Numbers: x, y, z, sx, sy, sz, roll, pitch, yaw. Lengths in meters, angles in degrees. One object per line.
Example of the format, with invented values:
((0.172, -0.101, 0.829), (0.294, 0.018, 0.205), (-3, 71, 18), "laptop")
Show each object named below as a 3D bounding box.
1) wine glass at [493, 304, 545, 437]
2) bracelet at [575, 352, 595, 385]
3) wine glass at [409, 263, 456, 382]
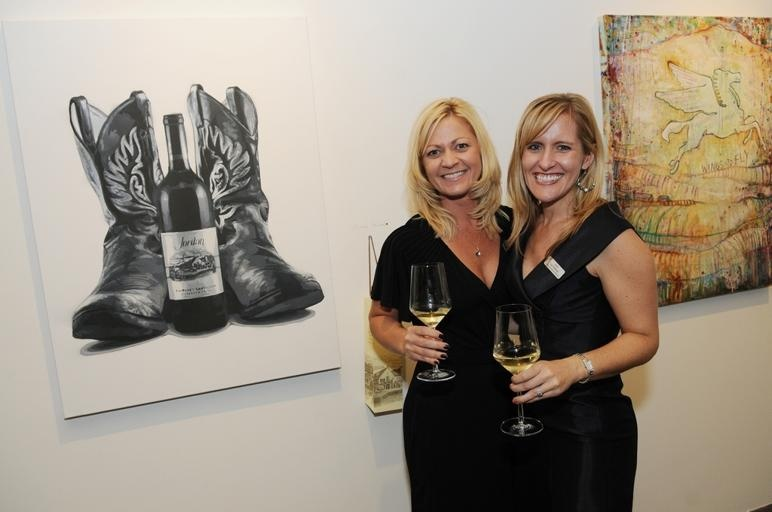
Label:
((0.532, 0.488, 2.281), (0.183, 0.610, 0.324), (-6, 6, 14), "wine glass")
((0.789, 0.445, 2.276), (0.062, 0.108, 0.046), (-7, 5, -1), "bracelet")
((0.201, 0.300, 2.460), (0.168, 0.555, 0.243), (-7, 5, 3), "wine glass")
